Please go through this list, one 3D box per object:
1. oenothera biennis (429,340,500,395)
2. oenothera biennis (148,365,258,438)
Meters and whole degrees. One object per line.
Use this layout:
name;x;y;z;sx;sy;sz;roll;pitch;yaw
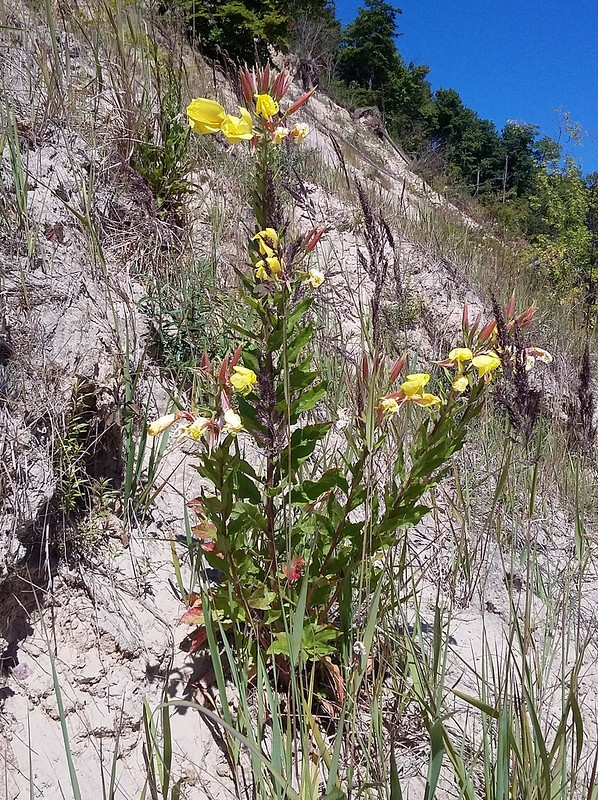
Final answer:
oenothera biennis;0.427;-0.125;1.698;0.120;0.148;0.121;-22;1;-37
oenothera biennis;-0.190;0.023;1.468;0.137;0.101;0.221;-31;-11;15
